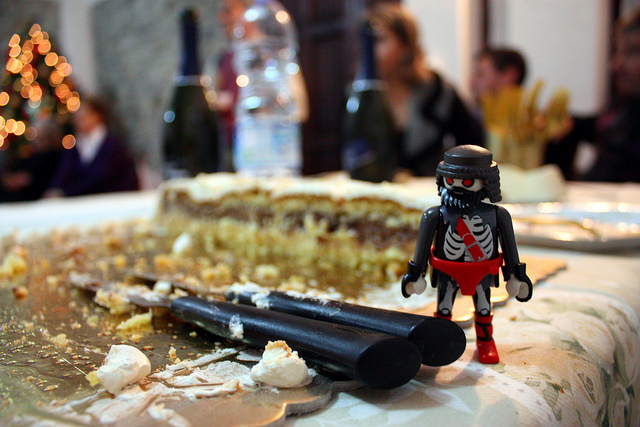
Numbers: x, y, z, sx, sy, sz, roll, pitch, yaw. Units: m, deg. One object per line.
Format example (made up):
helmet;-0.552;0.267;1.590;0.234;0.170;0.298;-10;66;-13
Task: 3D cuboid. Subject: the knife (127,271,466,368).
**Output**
knife;-0.026;0.138;1.176;0.584;0.066;0.162;9;9;24

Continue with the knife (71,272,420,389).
knife;-0.147;0.227;1.143;0.498;0.057;0.090;12;20;31
